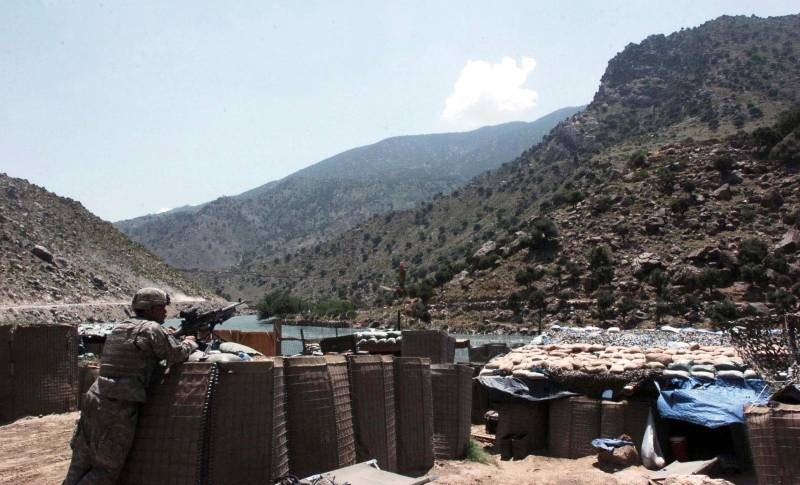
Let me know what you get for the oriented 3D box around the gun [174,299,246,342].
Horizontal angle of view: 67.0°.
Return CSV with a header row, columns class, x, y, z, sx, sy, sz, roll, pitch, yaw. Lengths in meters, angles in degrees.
class,x,y,z,sx,sy,sz,roll,pitch,yaw
gun,-5.908,2.241,18.692,0.724,1.134,3.374,0,5,27
